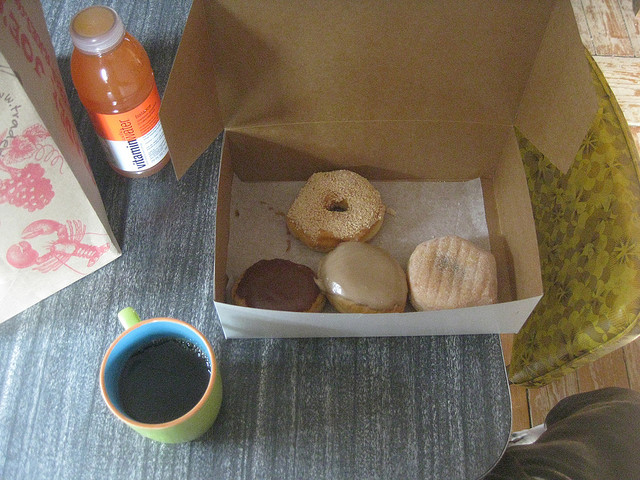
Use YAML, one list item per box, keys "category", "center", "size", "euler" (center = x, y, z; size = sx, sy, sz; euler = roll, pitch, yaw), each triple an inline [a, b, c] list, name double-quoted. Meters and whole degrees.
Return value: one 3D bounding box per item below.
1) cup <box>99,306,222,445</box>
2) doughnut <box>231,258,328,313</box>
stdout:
- category: "cup"
  center: [-0.211, 0.177, 0.762]
  size: [0.129, 0.134, 0.215]
  euler: [-26, 70, -8]
- category: "doughnut"
  center: [-0.068, 0.079, 0.887]
  size: [0.112, 0.033, 0.097]
  euler: [9, 56, -1]
